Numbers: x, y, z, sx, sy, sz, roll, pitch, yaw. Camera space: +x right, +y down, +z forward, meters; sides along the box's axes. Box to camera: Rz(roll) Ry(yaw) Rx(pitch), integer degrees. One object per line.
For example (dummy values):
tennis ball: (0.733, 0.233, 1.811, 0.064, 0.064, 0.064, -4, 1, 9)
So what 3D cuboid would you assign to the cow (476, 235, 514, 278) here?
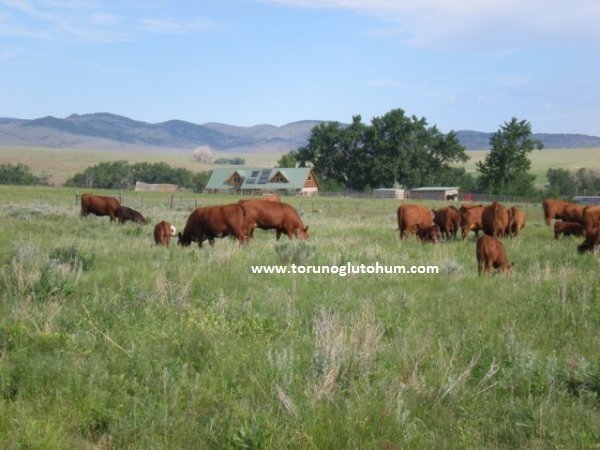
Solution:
cow: (5.134, 0.812, 19.750, 1.050, 1.064, 0.592, -4, 8, -39)

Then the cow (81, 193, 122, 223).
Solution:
cow: (-9.381, -0.840, 34.647, 1.610, 1.236, 2.977, -3, 8, -34)
